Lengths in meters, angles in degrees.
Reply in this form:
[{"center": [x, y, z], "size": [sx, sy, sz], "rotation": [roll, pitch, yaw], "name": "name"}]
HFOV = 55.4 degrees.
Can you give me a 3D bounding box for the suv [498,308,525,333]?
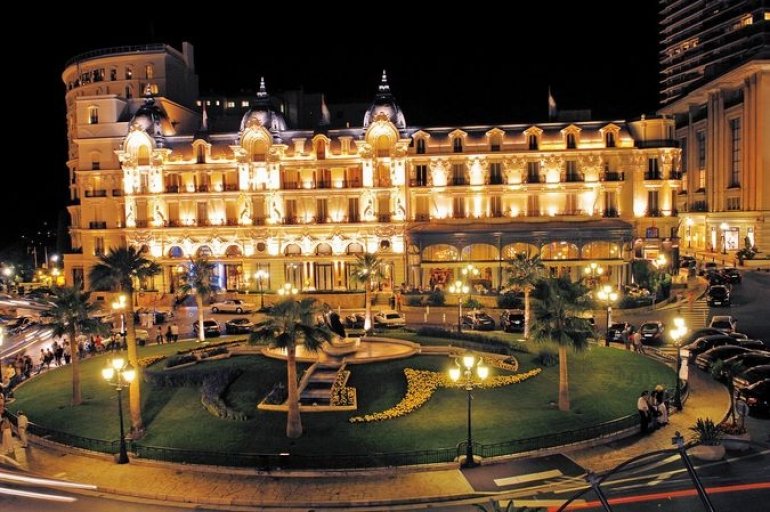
[{"center": [12.923, 6.601, 75.681], "size": [2.723, 1.778, 5.324], "rotation": [0, 3, 9], "name": "suv"}]
